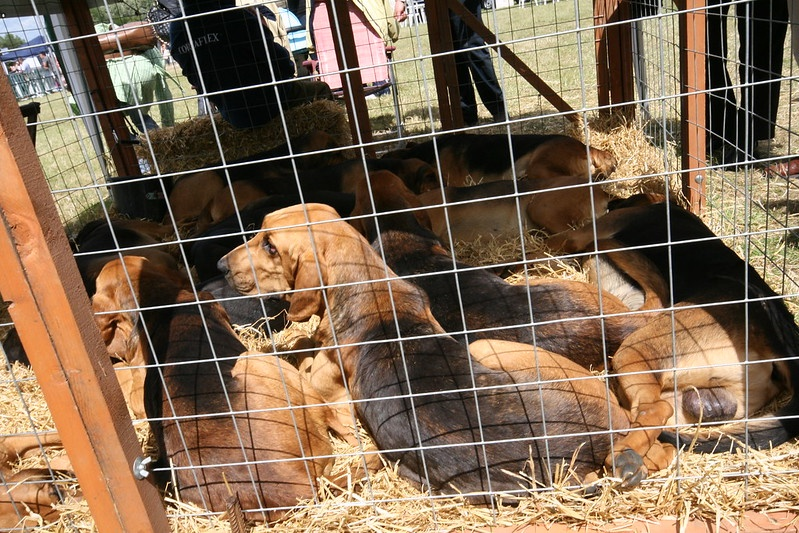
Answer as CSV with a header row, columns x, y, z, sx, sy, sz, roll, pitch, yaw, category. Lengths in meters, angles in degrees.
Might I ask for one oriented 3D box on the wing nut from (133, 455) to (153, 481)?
x,y,z,sx,sy,sz,roll,pitch,yaw,category
-1.470,1.157,4.520,0.044,0.141,0.119,5,21,40,wing nut
